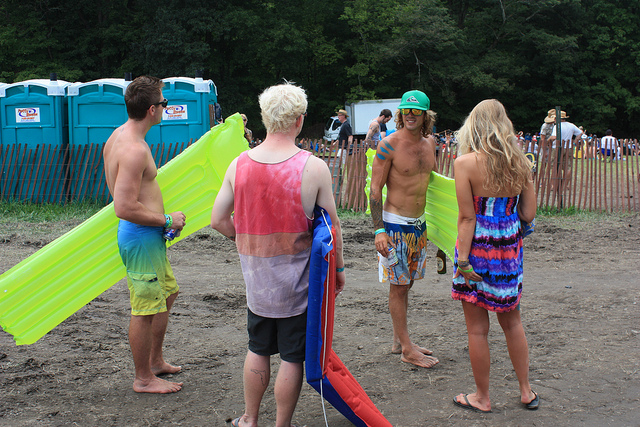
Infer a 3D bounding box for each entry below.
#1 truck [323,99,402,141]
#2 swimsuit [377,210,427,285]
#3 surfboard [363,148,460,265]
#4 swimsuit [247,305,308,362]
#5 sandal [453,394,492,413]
[{"bbox_3d":[1.994,-4.819,35.873,4.792,2.604,2.313,-2,3,-3],"label":"truck"},{"bbox_3d":[1.211,0.556,11.829,0.568,1.226,1.325,0,0,-16],"label":"swimsuit"},{"bbox_3d":[1.414,-0.082,11.834,1.914,1.315,0.172,29,28,28],"label":"surfboard"},{"bbox_3d":[-0.564,1.649,10.759,1.115,1.016,0.633,2,-3,8],"label":"swimsuit"},{"bbox_3d":[2.180,2.734,11.027,0.503,0.136,0.205,15,7,17],"label":"sandal"}]
